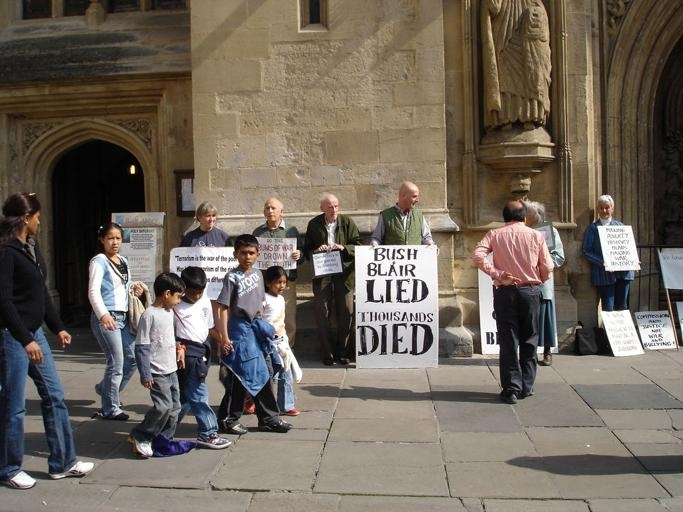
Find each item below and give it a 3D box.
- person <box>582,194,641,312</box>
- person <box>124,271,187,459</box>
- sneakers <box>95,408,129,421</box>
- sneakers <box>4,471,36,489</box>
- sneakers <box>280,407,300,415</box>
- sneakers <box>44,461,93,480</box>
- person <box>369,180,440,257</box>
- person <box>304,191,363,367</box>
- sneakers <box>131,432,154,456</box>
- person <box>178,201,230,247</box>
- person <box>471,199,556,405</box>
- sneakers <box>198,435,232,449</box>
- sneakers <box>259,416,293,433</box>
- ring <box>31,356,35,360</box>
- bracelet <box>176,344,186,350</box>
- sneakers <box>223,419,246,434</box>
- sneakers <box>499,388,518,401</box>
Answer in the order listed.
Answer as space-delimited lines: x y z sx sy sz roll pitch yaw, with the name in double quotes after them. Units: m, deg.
3.674 0.121 13.489 0.712 1.890 0.561 -14 18 -9 "person"
-1.839 1.125 10.107 0.595 1.794 0.257 -3 0 -12 "person"
-2.528 1.776 11.121 0.430 0.179 0.148 0 -7 0 "sneakers"
-3.088 2.199 9.713 0.298 0.122 0.142 5 1 -6 "sneakers"
-0.550 1.727 11.015 0.183 0.075 0.079 0 0 -4 "sneakers"
-2.648 2.104 9.823 0.407 0.156 0.169 -3 4 -17 "sneakers"
0.767 -0.458 12.990 1.035 1.361 0.755 0 -1 -12 "person"
-0.085 0.407 12.908 0.735 2.107 0.485 -3 0 -3 "person"
-2.059 1.943 10.201 0.323 0.144 0.119 24 -1 31 "sneakers"
-1.721 -0.395 12.705 0.741 0.632 0.389 0 9 -21 "person"
1.994 0.508 11.520 0.808 2.356 0.490 -3 0 -30 "person"
-1.311 1.938 10.360 0.279 0.108 0.144 1 -1 -1 "sneakers"
-0.699 1.817 10.678 0.372 0.161 0.146 0 3 1 "sneakers"
-2.960 0.989 9.611 0.044 0.029 0.021 -3 0 12 "ring"
-1.635 0.931 10.239 0.055 0.026 0.073 6 33 -17 "bracelet"
-1.128 1.834 10.650 0.237 0.099 0.134 0 2 0 "sneakers"
1.893 1.598 11.327 0.183 0.168 0.126 -3 0 6 "sneakers"
